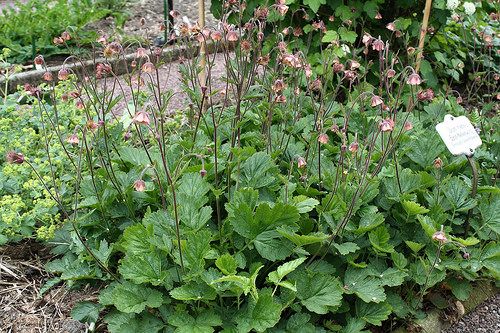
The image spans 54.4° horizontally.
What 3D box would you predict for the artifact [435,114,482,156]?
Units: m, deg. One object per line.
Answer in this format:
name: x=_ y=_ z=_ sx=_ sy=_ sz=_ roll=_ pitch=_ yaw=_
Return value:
artifact: x=1.804 y=-0.271 z=4.226 sx=0.311 sy=0.401 sz=0.091 roll=-28 pitch=-2 yaw=-15
